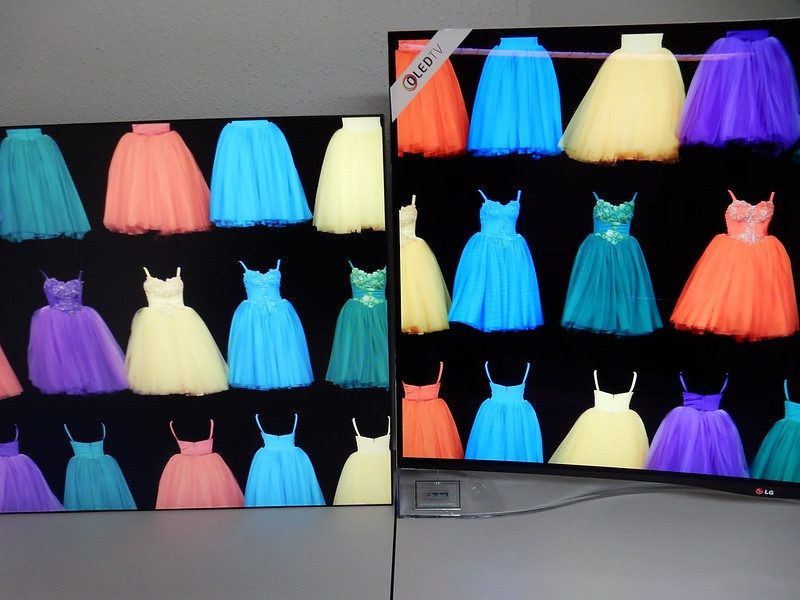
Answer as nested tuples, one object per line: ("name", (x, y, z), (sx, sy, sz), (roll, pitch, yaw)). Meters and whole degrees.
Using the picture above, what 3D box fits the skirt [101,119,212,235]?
("skirt", (-0.738, -0.349, 2.677), (0.332, 0.376, 0.220), (-3, -17, -18))
